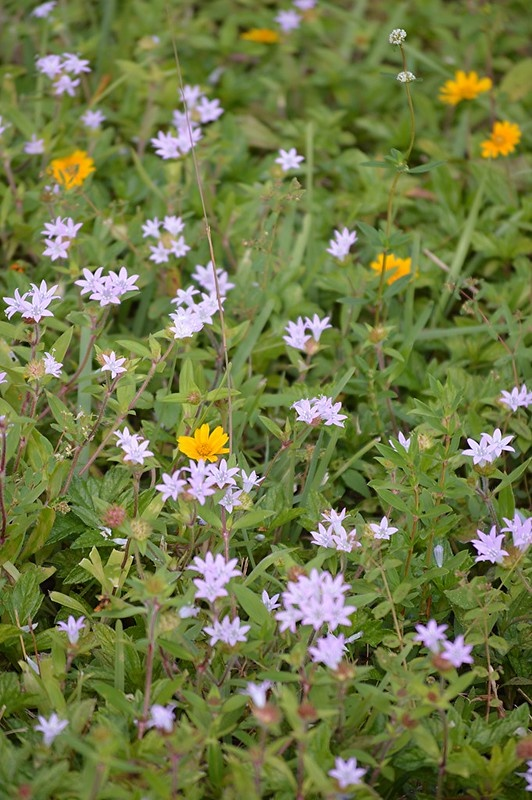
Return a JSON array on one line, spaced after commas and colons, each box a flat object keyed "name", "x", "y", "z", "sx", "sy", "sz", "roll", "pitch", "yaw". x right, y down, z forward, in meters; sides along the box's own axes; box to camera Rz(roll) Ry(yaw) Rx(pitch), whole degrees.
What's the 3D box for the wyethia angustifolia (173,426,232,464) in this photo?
[{"name": "wyethia angustifolia", "x": -0.115, "y": 0.085, "z": 1.358, "sx": 0.084, "sy": 0.030, "sz": 0.079, "roll": 20, "pitch": 70, "yaw": 16}]
